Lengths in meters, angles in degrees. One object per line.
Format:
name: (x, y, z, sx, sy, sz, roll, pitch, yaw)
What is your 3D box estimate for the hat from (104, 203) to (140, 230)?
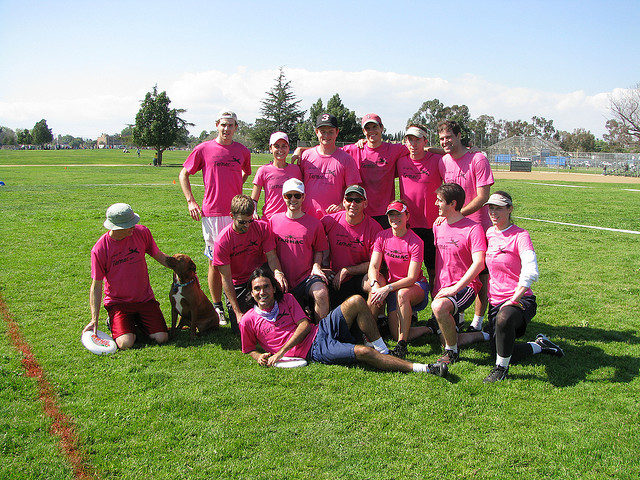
hat: (-2.573, -0.297, 6.834, 0.415, 0.332, 0.265, -4, 7, -25)

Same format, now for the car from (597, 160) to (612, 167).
car: (38.820, -10.367, 71.941, 1.213, 0.896, 9.713, 3, 8, 26)

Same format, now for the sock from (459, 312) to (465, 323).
sock: (1.894, 1.047, 7.096, 0.097, 0.120, 0.106, 0, 0, 1)

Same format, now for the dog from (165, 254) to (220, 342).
dog: (-1.746, 0.736, 7.166, 0.607, 1.145, 0.588, -1, 7, -6)

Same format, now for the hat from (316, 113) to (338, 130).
hat: (0.104, -1.682, 7.656, 0.254, 0.213, 0.446, 4, 4, 0)

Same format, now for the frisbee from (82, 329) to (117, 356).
frisbee: (-2.774, 1.272, 6.653, 0.464, 0.241, 0.341, 4, 8, 32)

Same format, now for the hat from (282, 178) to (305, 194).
hat: (-0.354, -0.711, 7.028, 0.261, 0.197, 0.200, 0, 7, 3)

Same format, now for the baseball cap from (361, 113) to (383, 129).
baseball cap: (0.699, -1.696, 7.571, 0.303, 0.166, 0.307, 3, 8, 26)

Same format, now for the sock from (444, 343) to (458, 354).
sock: (1.641, 1.338, 6.532, 0.172, 0.124, 0.092, -2, 7, -9)

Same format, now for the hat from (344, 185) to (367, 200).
hat: (0.498, -0.631, 7.103, 0.228, 0.194, 0.405, 1, -6, 5)

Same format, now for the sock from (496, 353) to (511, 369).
sock: (2.135, 1.395, 6.144, 0.156, 0.153, 0.153, 1, 7, 12)

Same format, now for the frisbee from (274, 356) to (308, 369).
frisbee: (-0.351, 1.463, 6.342, 0.389, 0.079, 0.231, -1, 7, -4)

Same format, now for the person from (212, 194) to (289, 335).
person: (-0.943, 0.408, 7.134, 1.045, 1.796, 1.114, 17, 36, 25)

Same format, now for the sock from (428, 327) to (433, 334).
sock: (1.528, 1.240, 7.310, 0.077, 0.084, 0.019, 7, -10, -24)

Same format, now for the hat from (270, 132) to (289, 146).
hat: (-0.598, -1.477, 7.705, 0.248, 0.185, 0.298, -1, 7, -5)

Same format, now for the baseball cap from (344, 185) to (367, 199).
baseball cap: (0.494, -0.637, 7.088, 0.198, 0.168, 0.350, 1, -7, 6)

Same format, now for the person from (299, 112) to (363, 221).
person: (0.074, -1.061, 7.747, 0.984, 1.614, 0.838, 5, 13, 15)

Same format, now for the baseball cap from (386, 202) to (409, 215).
baseball cap: (1.008, -0.412, 6.903, 0.245, 0.152, 0.197, 0, 7, 7)

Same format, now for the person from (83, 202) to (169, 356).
person: (-2.591, 0.437, 7.021, 1.060, 1.837, 1.220, -3, 7, -22)

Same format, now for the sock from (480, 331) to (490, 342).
sock: (2.228, 1.287, 7.066, 0.076, 0.117, 0.046, -8, 5, -5)

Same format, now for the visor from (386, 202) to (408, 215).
visor: (1.008, -0.408, 6.902, 0.245, 0.145, 0.196, 0, 7, 7)

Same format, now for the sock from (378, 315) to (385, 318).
sock: (0.838, 1.032, 7.186, 0.097, 0.039, 0.015, -6, 8, -36)

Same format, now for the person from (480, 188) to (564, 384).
person: (2.340, 0.492, 6.372, 0.811, 2.106, 1.100, 2, 7, 24)

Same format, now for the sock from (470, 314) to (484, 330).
sock: (2.179, 1.137, 7.349, 0.149, 0.188, 0.150, 1, 7, 13)

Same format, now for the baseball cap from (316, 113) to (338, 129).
baseball cap: (0.100, -1.674, 7.604, 0.252, 0.213, 0.445, 5, 3, 0)
